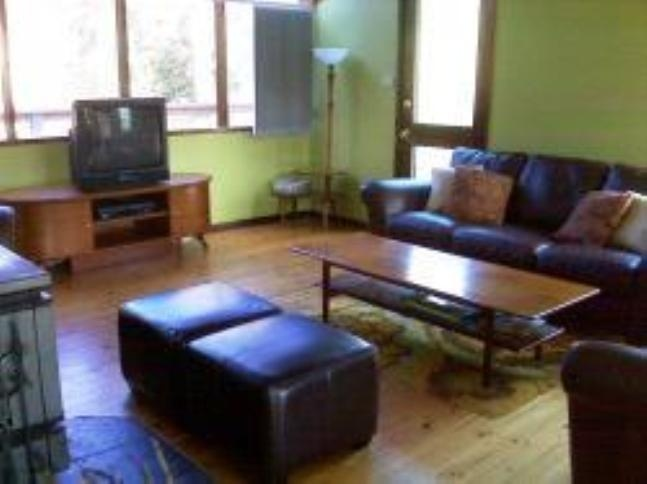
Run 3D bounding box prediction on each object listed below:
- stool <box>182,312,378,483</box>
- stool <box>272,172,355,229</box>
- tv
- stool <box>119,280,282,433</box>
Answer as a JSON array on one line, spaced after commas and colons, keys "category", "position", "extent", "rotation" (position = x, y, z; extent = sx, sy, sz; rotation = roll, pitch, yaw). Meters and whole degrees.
[{"category": "stool", "position": [-0.176, 0.649, 2.297], "extent": [0.623, 0.470, 0.621], "rotation": [-18, 24, -41]}, {"category": "stool", "position": [-0.153, -0.457, 6.032], "extent": [0.717, 0.384, 0.650], "rotation": [-1, 9, -3]}, {"category": "tv", "position": [-1.664, -0.853, 4.691], "extent": [0.868, 0.750, 0.442], "rotation": [-1, 9, 9]}, {"category": "stool", "position": [-0.589, 0.489, 2.642], "extent": [0.635, 0.445, 0.620], "rotation": [-10, 17, -39]}]
